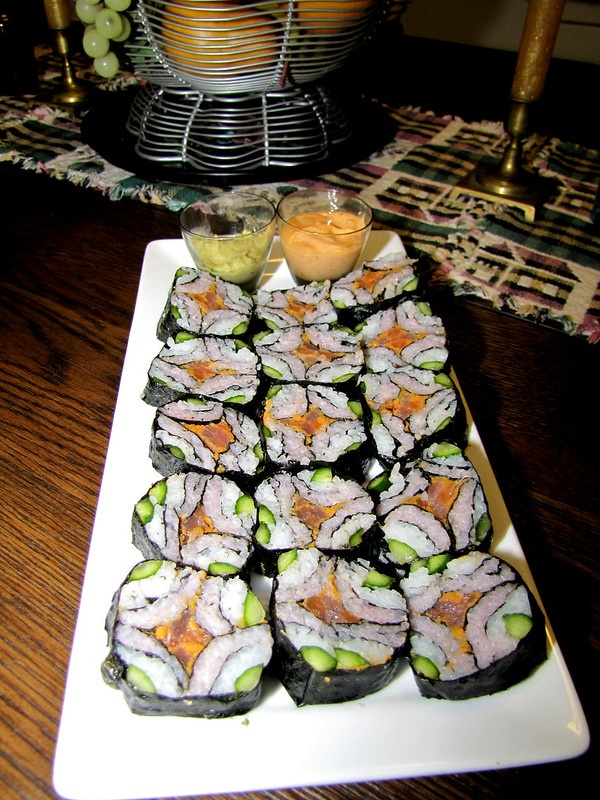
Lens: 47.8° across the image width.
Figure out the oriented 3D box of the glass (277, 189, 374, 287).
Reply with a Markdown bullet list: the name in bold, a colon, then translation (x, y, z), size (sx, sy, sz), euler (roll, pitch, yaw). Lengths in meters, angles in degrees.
- **glass**: translation (0.041, -0.372, 1.533), size (0.231, 0.187, 0.235), euler (0, 44, -3)

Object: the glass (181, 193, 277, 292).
- **glass**: translation (-0.134, -0.353, 1.484), size (0.227, 0.187, 0.222), euler (-3, 49, -2)
